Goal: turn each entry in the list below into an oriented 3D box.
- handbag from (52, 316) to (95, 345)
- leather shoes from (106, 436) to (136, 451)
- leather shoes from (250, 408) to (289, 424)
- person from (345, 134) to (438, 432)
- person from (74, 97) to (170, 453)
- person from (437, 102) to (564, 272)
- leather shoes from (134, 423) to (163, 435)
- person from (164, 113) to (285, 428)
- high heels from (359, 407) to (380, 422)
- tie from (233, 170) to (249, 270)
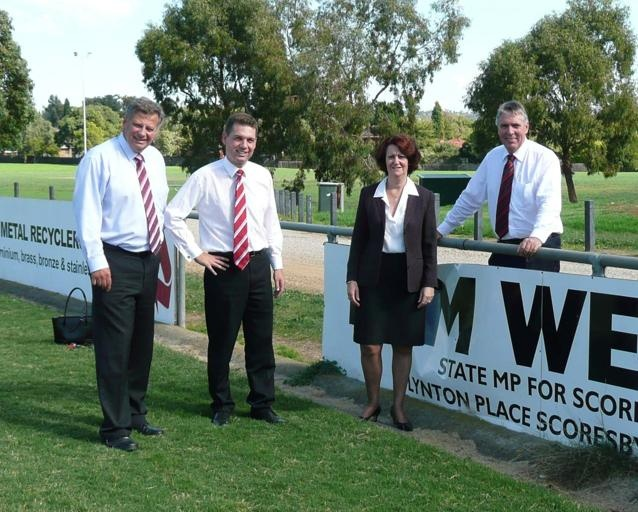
[{"bbox_3d":[-2.428,0.728,7.798,0.339,0.433,0.186,0,-8,-10],"label":"handbag"},{"bbox_3d":[-1.402,1.314,5.589,0.221,0.114,0.092,-1,1,17],"label":"leather shoes"},{"bbox_3d":[-0.401,1.196,6.105,0.264,0.135,0.107,1,1,24],"label":"leather shoes"},{"bbox_3d":[0.534,0.190,6.043,0.687,2.203,0.359,2,8,9],"label":"person"},{"bbox_3d":[-1.405,0.084,5.743,0.675,2.419,0.580,-4,10,-30],"label":"person"},{"bbox_3d":[1.406,-0.233,6.344,0.868,1.997,0.888,1,3,27],"label":"person"},{"bbox_3d":[-1.278,1.248,5.879,0.209,0.106,0.084,-2,5,23],"label":"leather shoes"},{"bbox_3d":[-0.705,0.090,6.065,0.826,2.317,0.494,0,8,-5],"label":"person"},{"bbox_3d":[0.396,1.235,6.247,0.217,0.119,0.066,11,-10,-41],"label":"high heels"},{"bbox_3d":[-0.602,-0.278,5.974,0.127,0.736,0.177,-1,8,-7],"label":"tie"}]
